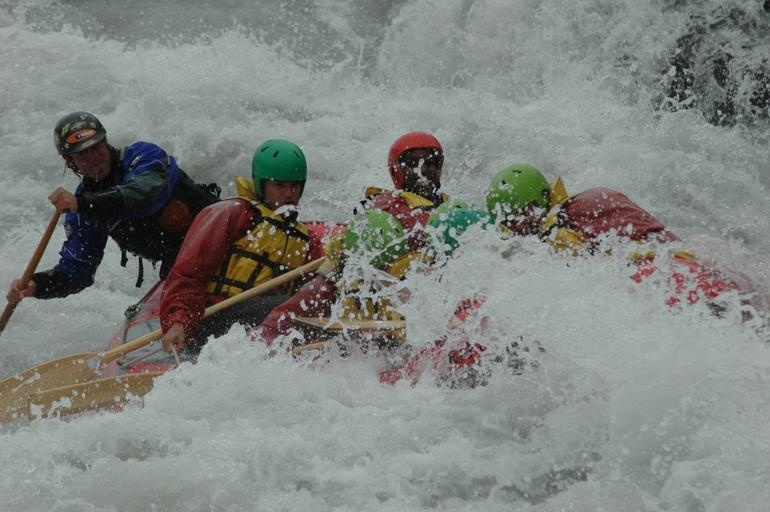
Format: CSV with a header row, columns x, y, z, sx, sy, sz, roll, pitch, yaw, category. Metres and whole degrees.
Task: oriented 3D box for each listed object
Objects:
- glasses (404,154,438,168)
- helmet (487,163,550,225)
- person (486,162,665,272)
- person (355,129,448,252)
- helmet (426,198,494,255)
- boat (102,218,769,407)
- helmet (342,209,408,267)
x,y,z,sx,sy,sz,roll,pitch,yaw,category
0.380,-0.955,10.720,0.345,0.153,0.096,1,53,-20,glasses
1.428,-0.695,10.870,0.651,0.478,0.554,-17,100,-24,helmet
1.902,-0.401,10.688,1.592,0.571,1.000,1,18,-2,person
0.231,-0.659,10.644,0.979,0.609,1.130,8,80,7,person
0.704,-0.336,10.184,0.579,0.272,0.484,-28,65,-36,helmet
-0.219,0.745,10.224,4.668,0.763,2.507,-12,38,7,boat
-0.041,-0.162,10.070,0.629,0.512,0.439,-7,59,0,helmet
